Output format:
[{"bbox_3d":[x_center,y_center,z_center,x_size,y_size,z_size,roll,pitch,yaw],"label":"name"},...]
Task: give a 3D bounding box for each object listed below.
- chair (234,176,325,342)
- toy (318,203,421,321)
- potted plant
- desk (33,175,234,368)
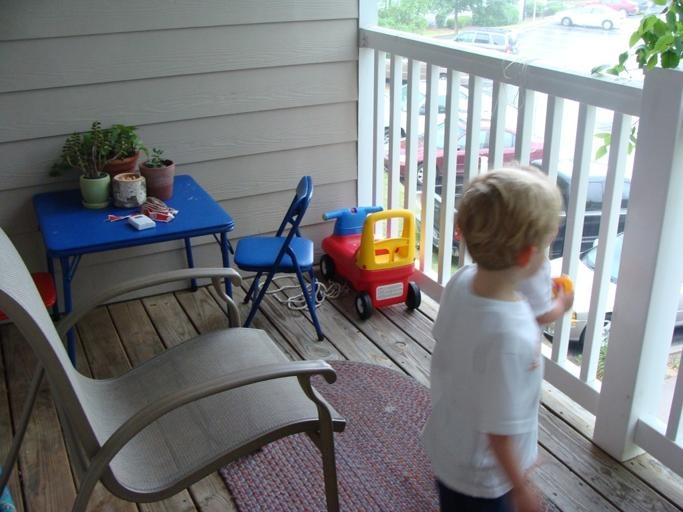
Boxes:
[{"bbox_3d":[-0.308,-0.007,2.686,0.465,0.781,0.483,-3,25,-16],"label":"chair"},{"bbox_3d":[0.155,0.051,2.911,0.269,0.470,0.505,-6,24,-21],"label":"toy"},{"bbox_3d":[-1.072,-0.441,2.570,0.401,0.410,0.541,-8,22,-18],"label":"potted plant"},{"bbox_3d":[-1.023,0.071,2.698,0.827,0.639,0.681,-13,27,-37],"label":"desk"}]
